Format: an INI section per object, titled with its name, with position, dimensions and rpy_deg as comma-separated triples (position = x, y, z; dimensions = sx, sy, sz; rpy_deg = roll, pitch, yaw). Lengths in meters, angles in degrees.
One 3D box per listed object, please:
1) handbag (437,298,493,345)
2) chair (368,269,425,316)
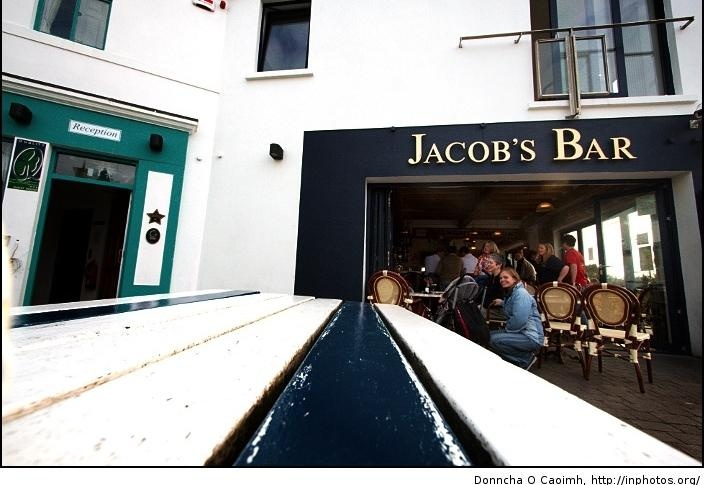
[handbag]
position = 1.726, 1.147, 6.018
dimensions = 0.584, 0.770, 0.313
rpy_deg = 17, 11, 34
[chair]
position = 0.666, 1.056, 7.375
dimensions = 0.755, 0.929, 0.996
rpy_deg = -5, -17, 15
